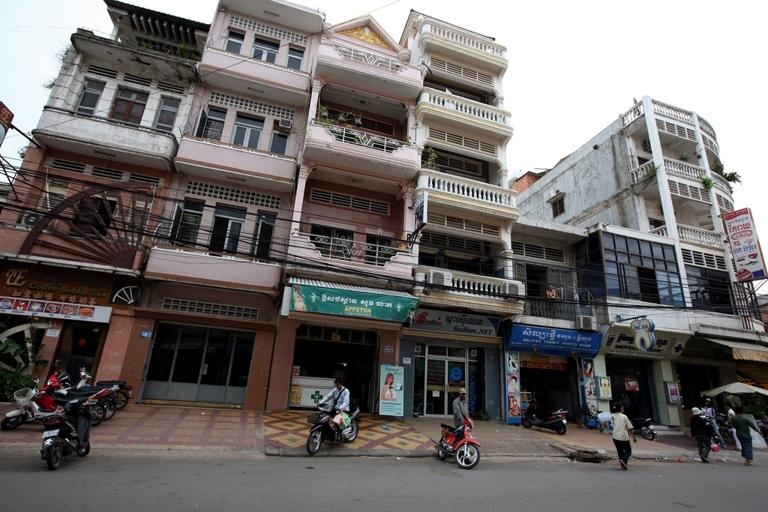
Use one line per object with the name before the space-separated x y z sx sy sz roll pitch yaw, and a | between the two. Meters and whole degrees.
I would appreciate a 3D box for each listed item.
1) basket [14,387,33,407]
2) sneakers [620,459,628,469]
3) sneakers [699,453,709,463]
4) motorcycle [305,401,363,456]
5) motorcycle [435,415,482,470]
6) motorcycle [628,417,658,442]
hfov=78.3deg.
basket | -11.509 4.528 15.056 0.478 0.557 0.233 19 -11 -3
sneakers | 8.218 7.225 16.134 0.204 0.208 0.524 -10 -54 23
sneakers | 12.457 7.963 18.245 0.187 0.209 0.529 -13 -43 23
motorcycle | -1.770 5.793 15.983 0.818 1.373 2.039 3 -3 42
motorcycle | 2.480 6.151 15.444 0.696 1.085 1.500 6 -3 -36
motorcycle | 11.930 7.843 21.237 0.804 0.876 1.532 7 -10 -19
